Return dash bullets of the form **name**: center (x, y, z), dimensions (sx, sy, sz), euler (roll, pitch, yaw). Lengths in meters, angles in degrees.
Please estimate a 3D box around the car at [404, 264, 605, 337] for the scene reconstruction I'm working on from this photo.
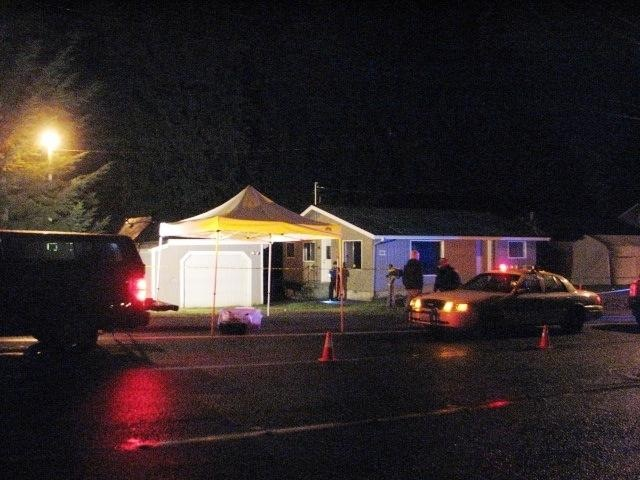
- **car**: center (4.463, 1.499, 15.619), dimensions (4.408, 1.570, 1.189), euler (0, 2, -24)

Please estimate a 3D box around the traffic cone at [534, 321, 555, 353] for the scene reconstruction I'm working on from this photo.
- **traffic cone**: center (5.011, 2.176, 14.637), dimensions (0.384, 0.475, 0.395), euler (-4, 7, -25)

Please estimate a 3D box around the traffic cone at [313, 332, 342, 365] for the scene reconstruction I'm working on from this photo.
- **traffic cone**: center (0.113, 2.041, 12.460), dimensions (0.434, 0.626, 0.439), euler (0, -2, 20)
